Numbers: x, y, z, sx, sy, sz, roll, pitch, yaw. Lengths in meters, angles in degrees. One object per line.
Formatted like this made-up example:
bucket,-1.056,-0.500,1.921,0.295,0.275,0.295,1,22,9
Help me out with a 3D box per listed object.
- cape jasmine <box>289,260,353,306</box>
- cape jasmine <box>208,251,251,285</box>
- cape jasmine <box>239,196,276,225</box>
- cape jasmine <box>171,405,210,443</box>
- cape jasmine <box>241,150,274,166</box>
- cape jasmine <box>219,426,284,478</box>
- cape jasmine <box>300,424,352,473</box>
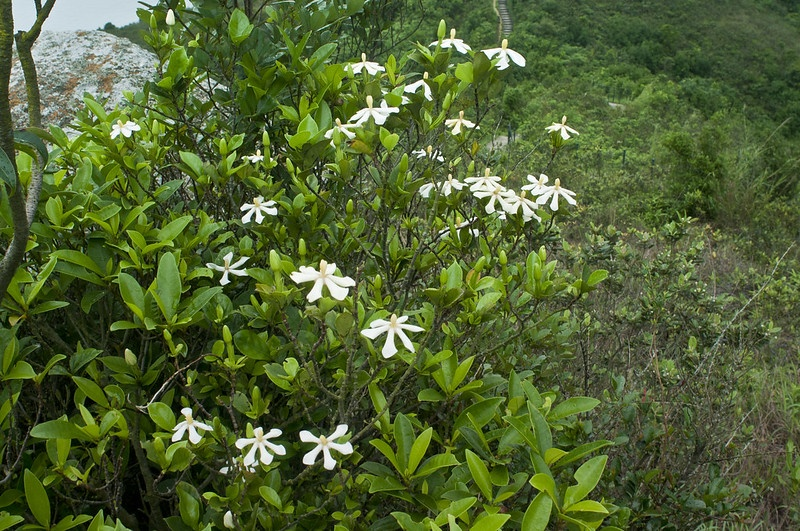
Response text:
cape jasmine,-0.408,0.063,3.635,0.307,0.211,0.304,11,14,-23
cape jasmine,-0.982,0.022,4.075,0.199,0.219,0.100,-7,-21,-12
cape jasmine,-0.821,-0.327,4.201,0.188,0.088,0.206,-8,43,20
cape jasmine,-1.095,0.850,3.683,0.192,0.168,0.198,2,19,-22
cape jasmine,-0.888,-0.678,4.488,0.158,0.091,0.169,0,5,21
cape jasmine,-0.802,1.000,3.768,0.250,0.215,0.262,-23,-11,-5
cape jasmine,-0.385,0.914,3.636,0.224,0.095,0.216,-5,6,-40
